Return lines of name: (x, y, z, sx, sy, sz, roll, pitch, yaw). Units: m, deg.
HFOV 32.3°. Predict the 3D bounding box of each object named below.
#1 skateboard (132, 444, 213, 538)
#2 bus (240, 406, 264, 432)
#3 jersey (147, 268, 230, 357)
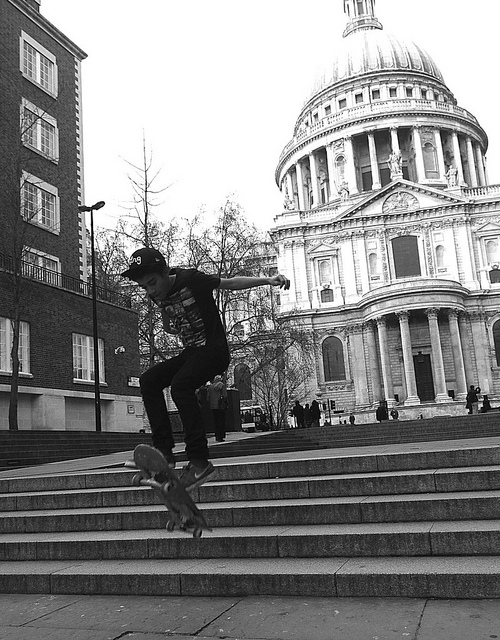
skateboard: (-0.434, 1.108, 5.479, 0.296, 0.831, 0.141, -8, 38, 41)
bus: (0.083, 5.228, 46.694, 1.292, 0.914, 1.985, -1, -22, -2)
jersey: (-0.432, -0.061, 5.999, 0.503, 0.660, 0.299, -6, -7, -2)
